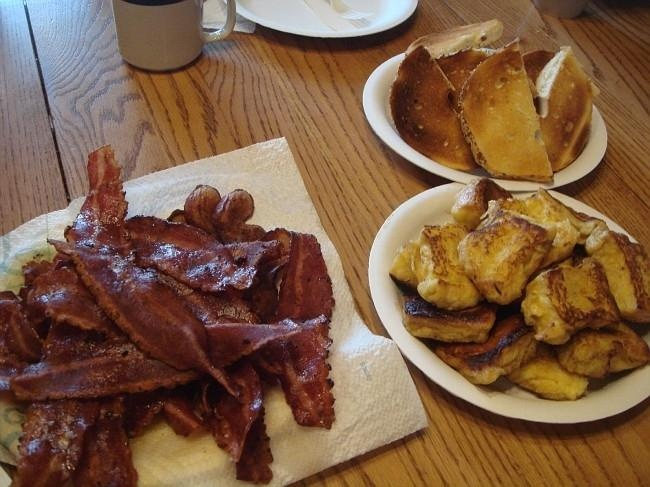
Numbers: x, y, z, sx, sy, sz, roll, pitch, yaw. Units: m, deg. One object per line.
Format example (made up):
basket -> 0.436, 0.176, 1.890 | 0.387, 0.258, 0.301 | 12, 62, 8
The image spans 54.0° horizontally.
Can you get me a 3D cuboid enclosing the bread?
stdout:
bread -> 0.300, -0.253, 1.195 | 0.340, 0.106, 0.330 | 9, 58, 16
